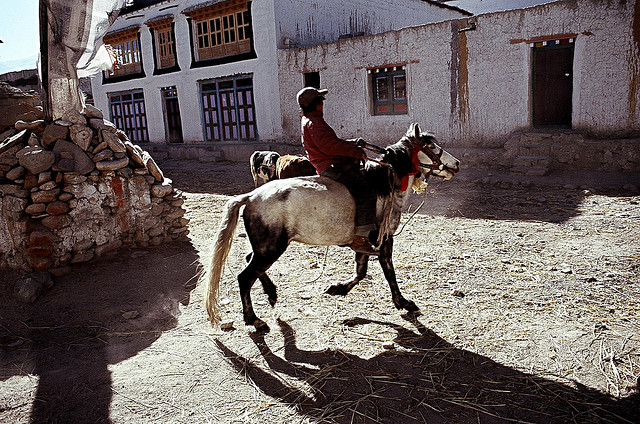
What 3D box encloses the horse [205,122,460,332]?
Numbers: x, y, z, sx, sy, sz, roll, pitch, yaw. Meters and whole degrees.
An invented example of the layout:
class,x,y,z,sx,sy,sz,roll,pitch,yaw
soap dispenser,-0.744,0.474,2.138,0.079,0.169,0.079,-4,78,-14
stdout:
class,x,y,z,sx,sy,sz,roll,pitch,yaw
horse,0.214,0.209,6.063,3.590,1.994,0.784,-9,8,-13
